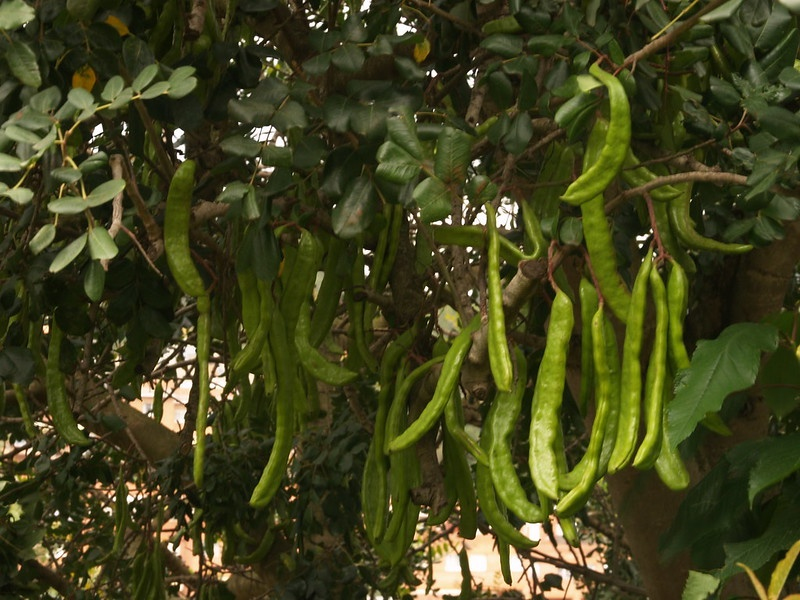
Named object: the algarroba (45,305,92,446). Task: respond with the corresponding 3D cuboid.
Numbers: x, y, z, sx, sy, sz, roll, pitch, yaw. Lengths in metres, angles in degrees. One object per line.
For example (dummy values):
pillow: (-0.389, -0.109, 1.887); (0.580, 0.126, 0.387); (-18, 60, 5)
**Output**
algarroba: (-0.930, 0.246, 2.547); (0.059, 0.449, 0.109); (-15, -11, 11)
